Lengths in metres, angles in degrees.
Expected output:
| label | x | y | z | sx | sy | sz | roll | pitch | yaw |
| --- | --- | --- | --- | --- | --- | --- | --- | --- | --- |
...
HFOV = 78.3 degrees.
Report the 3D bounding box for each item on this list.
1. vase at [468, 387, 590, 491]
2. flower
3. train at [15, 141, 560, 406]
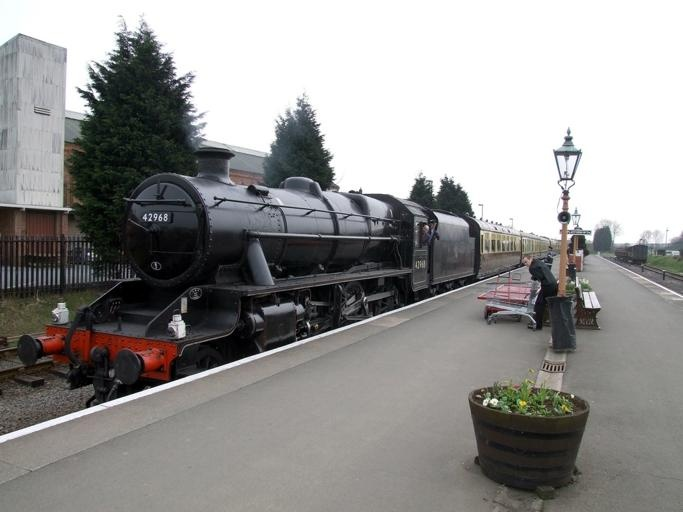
| label | x | y | z | sx | sy | sz | roll | pitch | yaw |
| --- | --- | --- | --- | --- | --- | --- | --- | --- | --- |
| vase | 1.597 | 1.602 | 3.651 | 0.875 | 0.596 | 0.968 | -1 | -10 | 15 |
| flower | 1.815 | 1.282 | 4.084 | 0.876 | 0.313 | 0.901 | 2 | -9 | 9 |
| train | 1.341 | 0.437 | 16.405 | 4.630 | 5.408 | 23.096 | -2 | -2 | 27 |
